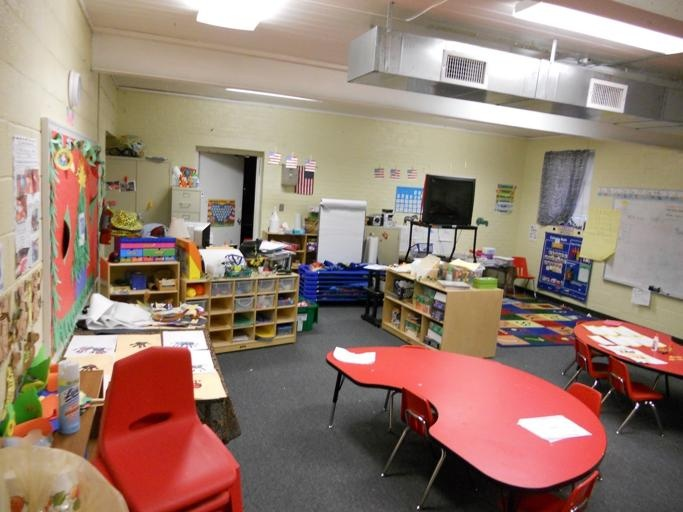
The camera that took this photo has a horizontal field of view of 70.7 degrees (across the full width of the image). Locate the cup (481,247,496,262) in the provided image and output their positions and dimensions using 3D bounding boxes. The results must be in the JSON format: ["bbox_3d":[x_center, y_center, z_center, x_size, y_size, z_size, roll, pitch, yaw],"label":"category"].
[{"bbox_3d":[3.051,-0.041,10.024,0.281,0.233,0.301,2,9,0],"label":"cup"}]

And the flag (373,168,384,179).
[{"bbox_3d":[0.731,-1.628,9.595,0.202,0.211,0.194,0,7,-15],"label":"flag"}]

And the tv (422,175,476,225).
[{"bbox_3d":[1.755,-0.912,7.969,0.875,0.794,0.475,1,12,-22],"label":"tv"}]

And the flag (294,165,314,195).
[{"bbox_3d":[-0.735,-1.452,9.050,0.509,0.723,0.054,-3,10,-31],"label":"flag"}]

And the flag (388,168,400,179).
[{"bbox_3d":[1.033,-1.659,9.673,0.205,0.215,0.017,-1,14,-26],"label":"flag"}]

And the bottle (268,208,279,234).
[{"bbox_3d":[-1.244,-0.640,8.805,0.204,0.442,0.461,1,10,-8],"label":"bottle"}]

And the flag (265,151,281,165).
[{"bbox_3d":[-1.244,-1.786,8.839,0.277,0.231,0.036,-3,11,-29],"label":"flag"}]

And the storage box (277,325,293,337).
[{"bbox_3d":[-0.761,0.984,6.388,0.172,0.089,0.123,-1,6,-22],"label":"storage box"}]

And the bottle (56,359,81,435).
[{"bbox_3d":[-1.536,0.793,2.700,0.102,0.398,0.111,2,10,0],"label":"bottle"}]

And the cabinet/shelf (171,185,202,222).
[{"bbox_3d":[-2.592,-0.866,7.996,0.463,0.563,0.185,-2,10,-22],"label":"cabinet/shelf"}]

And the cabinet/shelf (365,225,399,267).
[{"bbox_3d":[0.727,-0.195,9.002,0.731,0.720,0.276,-1,5,-17],"label":"cabinet/shelf"}]

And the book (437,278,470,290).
[{"bbox_3d":[1.470,0.368,6.217,0.424,0.090,0.178,2,9,-1],"label":"book"}]

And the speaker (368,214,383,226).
[{"bbox_3d":[0.635,-0.698,9.242,0.212,0.145,0.223,-2,13,-6],"label":"speaker"}]

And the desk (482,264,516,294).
[{"bbox_3d":[2.919,0.407,8.914,0.563,0.549,0.441,-2,6,-16],"label":"desk"}]

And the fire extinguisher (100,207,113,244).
[{"bbox_3d":[-2.605,-0.325,5.308,0.120,0.389,0.250,-2,10,-24],"label":"fire extinguisher"}]

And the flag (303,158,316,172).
[{"bbox_3d":[-0.624,-1.710,9.058,0.254,0.233,0.035,0,6,-28],"label":"flag"}]

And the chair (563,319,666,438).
[{"bbox_3d":[3.106,1.301,5.730,0.926,0.668,1.272,-9,18,-13],"label":"chair"}]

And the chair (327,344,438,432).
[{"bbox_3d":[0.267,1.015,4.424,0.863,0.466,0.811,8,10,43],"label":"chair"}]
